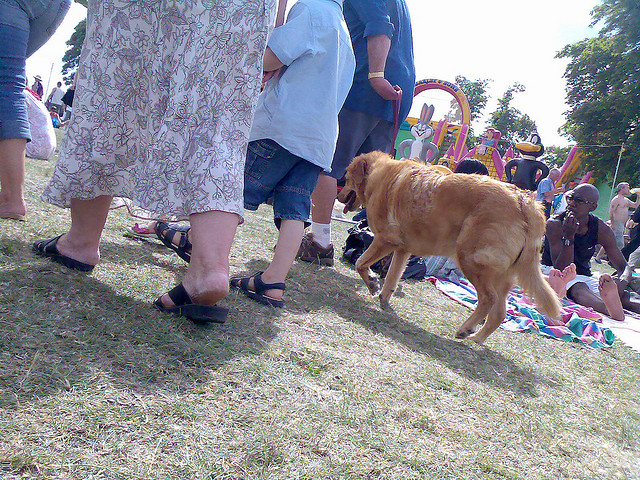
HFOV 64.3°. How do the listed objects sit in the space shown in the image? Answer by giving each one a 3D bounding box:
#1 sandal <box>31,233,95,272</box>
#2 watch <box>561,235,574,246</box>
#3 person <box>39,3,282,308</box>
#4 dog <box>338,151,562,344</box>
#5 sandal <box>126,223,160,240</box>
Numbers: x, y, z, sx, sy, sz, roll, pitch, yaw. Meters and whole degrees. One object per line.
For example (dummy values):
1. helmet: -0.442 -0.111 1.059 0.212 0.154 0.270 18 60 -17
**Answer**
1. sandal: -1.379 0.058 2.754 0.355 0.137 0.158 26 5 1
2. watch: 2.827 0.000 5.850 0.096 0.053 0.078 13 -9 8
3. person: -0.732 -0.483 2.484 0.961 1.518 0.311 15 10 11
4. dog: 0.864 0.051 3.967 1.983 1.298 0.591 14 9 40
5. sandal: -1.251 -0.076 3.746 0.279 0.113 0.104 13 0 -13
